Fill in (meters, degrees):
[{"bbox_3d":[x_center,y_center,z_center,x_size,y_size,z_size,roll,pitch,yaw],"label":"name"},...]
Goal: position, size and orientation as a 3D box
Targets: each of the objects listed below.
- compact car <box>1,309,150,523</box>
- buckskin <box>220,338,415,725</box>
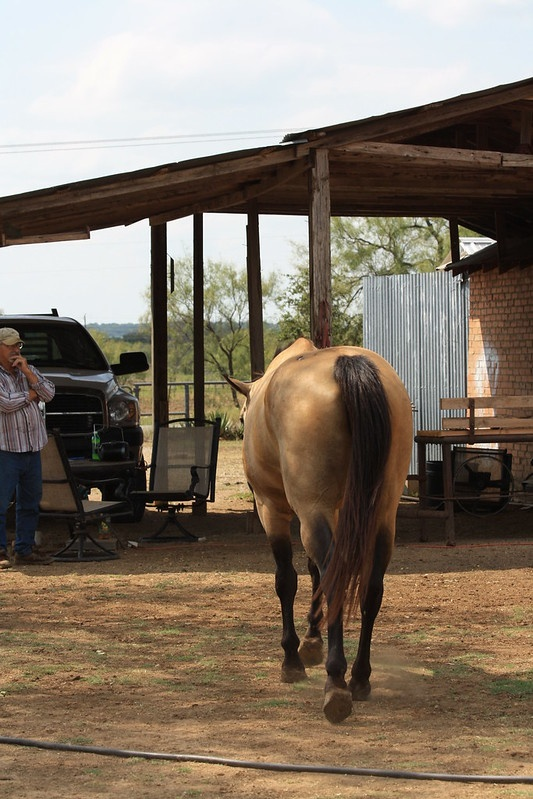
[{"bbox_3d":[-1.879,0.054,11.102,2.147,1.793,3.160,0,-4,-6],"label":"compact car"},{"bbox_3d":[0.240,0.618,5.500,0.714,1.850,2.794,1,-8,-7],"label":"buckskin"}]
